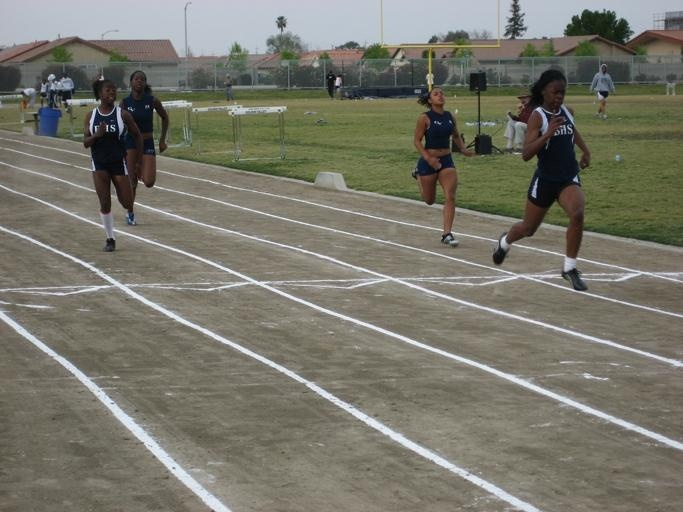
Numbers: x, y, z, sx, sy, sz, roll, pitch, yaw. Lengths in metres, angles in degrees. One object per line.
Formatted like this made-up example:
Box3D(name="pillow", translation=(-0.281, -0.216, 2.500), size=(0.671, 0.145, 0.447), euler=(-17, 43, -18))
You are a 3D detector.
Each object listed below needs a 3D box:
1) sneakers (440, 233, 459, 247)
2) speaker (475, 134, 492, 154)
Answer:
Box3D(name="sneakers", translation=(1.482, -0.224, 13.091), size=(0.095, 0.172, 0.243), euler=(-9, 14, -41))
Box3D(name="speaker", translation=(3.663, -2.841, 24.505), size=(0.433, 0.523, 0.655), euler=(2, 10, 7))
